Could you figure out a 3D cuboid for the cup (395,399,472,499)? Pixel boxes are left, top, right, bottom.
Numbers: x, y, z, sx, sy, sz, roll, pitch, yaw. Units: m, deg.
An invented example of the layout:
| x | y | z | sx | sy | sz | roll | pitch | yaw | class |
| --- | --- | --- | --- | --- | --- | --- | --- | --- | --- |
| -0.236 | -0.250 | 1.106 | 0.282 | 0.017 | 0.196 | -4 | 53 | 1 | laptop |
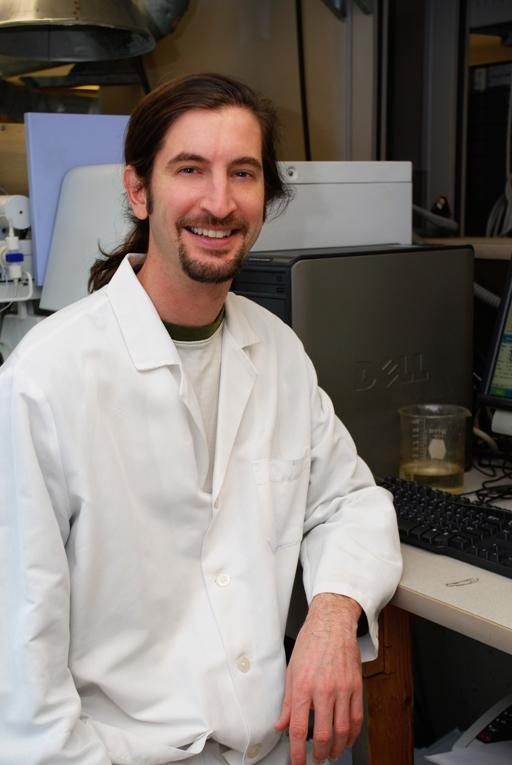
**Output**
| x | y | z | sx | sy | sz | roll | pitch | yaw | class |
| --- | --- | --- | --- | --- | --- | --- | --- | --- | --- |
| 0.328 | 0.114 | 1.147 | 0.147 | 0.165 | 0.127 | 0 | 1 | -19 | cup |
